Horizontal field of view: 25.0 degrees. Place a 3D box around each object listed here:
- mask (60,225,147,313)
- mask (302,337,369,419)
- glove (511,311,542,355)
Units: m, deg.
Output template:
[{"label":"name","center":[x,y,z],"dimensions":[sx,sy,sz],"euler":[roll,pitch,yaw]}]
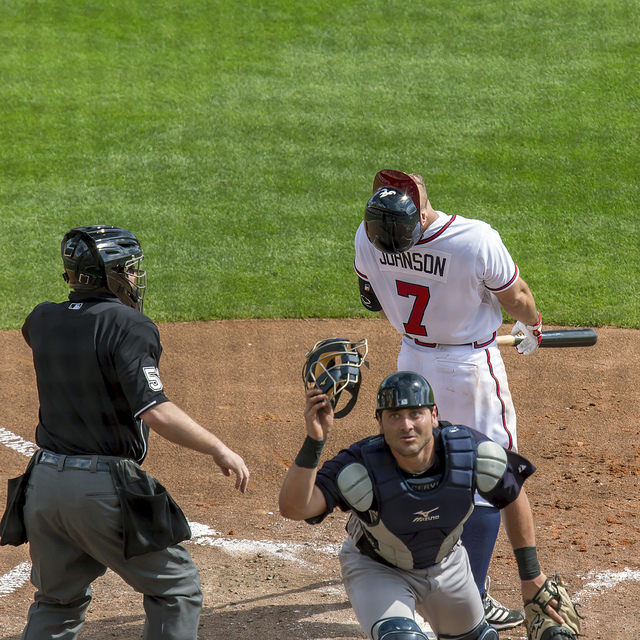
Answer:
[{"label":"mask","center":[-1.399,-0.326,9.579],"dimensions":[0.519,0.523,0.404],"euler":[2,7,-28]},{"label":"mask","center":[0.056,0.372,9.215],"dimensions":[0.494,0.500,0.400],"euler":[-4,4,-43]},{"label":"glove","center":[1.530,0.088,10.459],"dimensions":[0.230,0.301,0.135],"euler":[26,61,17]}]
